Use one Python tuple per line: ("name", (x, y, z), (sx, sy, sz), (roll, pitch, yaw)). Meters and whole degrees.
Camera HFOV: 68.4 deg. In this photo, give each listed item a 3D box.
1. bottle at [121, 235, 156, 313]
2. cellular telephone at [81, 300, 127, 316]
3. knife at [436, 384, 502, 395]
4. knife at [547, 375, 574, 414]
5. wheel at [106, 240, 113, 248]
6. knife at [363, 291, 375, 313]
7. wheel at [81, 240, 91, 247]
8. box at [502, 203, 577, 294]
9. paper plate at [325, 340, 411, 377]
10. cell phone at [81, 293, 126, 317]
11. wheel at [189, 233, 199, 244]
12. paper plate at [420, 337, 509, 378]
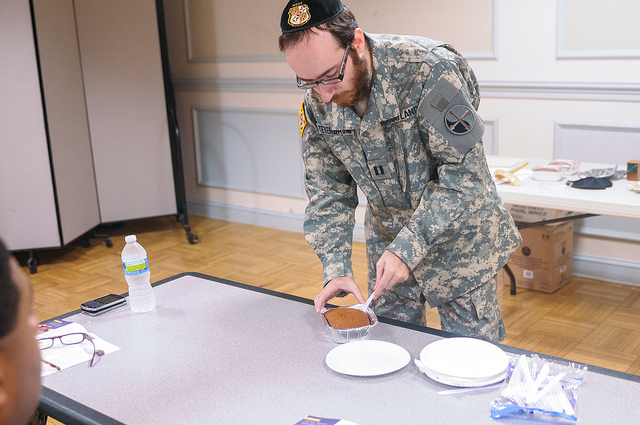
("bottle", (-0.670, 0.208, 1.707), (0.092, 0.252, 0.230), (-12, 23, -21))
("cellular telephone", (-0.775, 0.342, 1.680), (0.083, 0.014, 0.143), (9, 18, 30))
("knife", (0.388, 0.452, 1.203), (0.104, 0.011, 0.011), (-8, 4, -5))
("knife", (0.587, 0.446, 1.145), (0.018, 0.004, 0.090), (-21, 33, 2))
("wheel", (-2.013, 0.286, 4.476), (0.052, 0.078, 0.091), (-12, 23, -22))
("knife", (0.144, 0.288, 1.510), (0.013, 0.096, 0.016), (20, 29, -22))
("wheel", (-2.227, 0.293, 4.454), (0.097, 0.056, 0.092), (-2, -10, 0))
("box", (1.525, 0.234, 3.425), (0.303, 0.492, 0.513), (-22, 24, -29))
("paper plate", (0.133, 0.407, 1.331), (0.232, 0.021, 0.158), (-7, 22, -11))
("cell phone", (-0.782, 0.321, 1.699), (0.071, 0.025, 0.111), (11, 16, 35))
("wheel", (-1.194, 0.241, 4.472), (0.083, 0.087, 0.093), (-6, 21, -37))
("paper plate", (0.394, 0.391, 1.282), (0.230, 0.021, 0.174), (2, 22, 13))
